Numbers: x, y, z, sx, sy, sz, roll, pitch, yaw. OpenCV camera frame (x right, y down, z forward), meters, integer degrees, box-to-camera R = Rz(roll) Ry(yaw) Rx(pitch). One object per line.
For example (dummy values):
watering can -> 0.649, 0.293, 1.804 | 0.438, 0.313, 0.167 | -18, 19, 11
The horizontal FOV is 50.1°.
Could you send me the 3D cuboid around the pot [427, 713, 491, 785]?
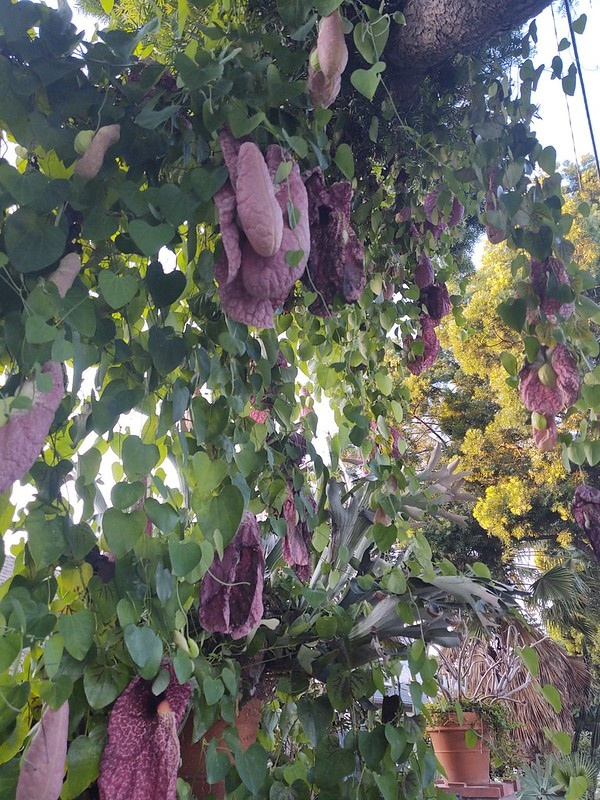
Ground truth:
pot -> 0.459, 1.021, 1.869 | 0.191, 0.175, 0.120 | 3, -19, 31
